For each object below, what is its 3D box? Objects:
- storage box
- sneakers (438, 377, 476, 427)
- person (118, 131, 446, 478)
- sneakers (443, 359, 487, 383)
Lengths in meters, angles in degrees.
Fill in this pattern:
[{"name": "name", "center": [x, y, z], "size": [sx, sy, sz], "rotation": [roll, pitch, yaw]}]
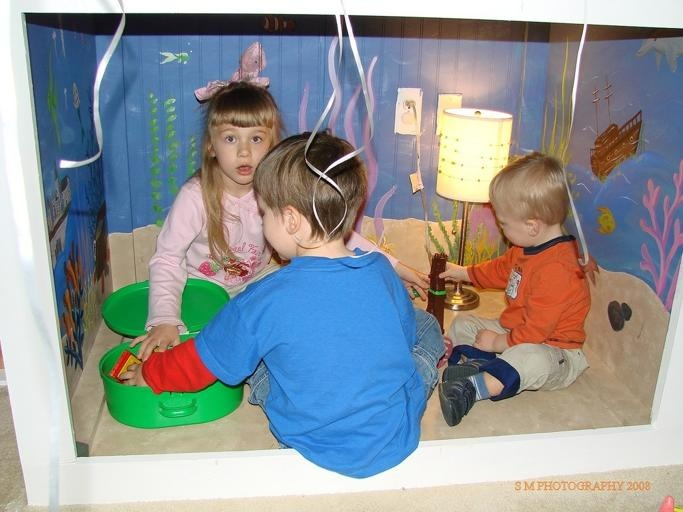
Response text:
[{"name": "storage box", "center": [-0.547, 0.288, 1.543], "size": [0.385, 0.141, 0.635], "rotation": [0, 25, -24]}, {"name": "sneakers", "center": [0.319, 0.393, 1.357], "size": [0.052, 0.075, 0.131], "rotation": [-14, 34, 36]}, {"name": "person", "center": [-0.095, 0.078, 1.228], "size": [0.849, 0.768, 0.592], "rotation": [-9, 27, -23]}, {"name": "sneakers", "center": [0.360, 0.338, 1.471], "size": [0.163, 0.065, 0.069], "rotation": [-12, -7, 22]}]
